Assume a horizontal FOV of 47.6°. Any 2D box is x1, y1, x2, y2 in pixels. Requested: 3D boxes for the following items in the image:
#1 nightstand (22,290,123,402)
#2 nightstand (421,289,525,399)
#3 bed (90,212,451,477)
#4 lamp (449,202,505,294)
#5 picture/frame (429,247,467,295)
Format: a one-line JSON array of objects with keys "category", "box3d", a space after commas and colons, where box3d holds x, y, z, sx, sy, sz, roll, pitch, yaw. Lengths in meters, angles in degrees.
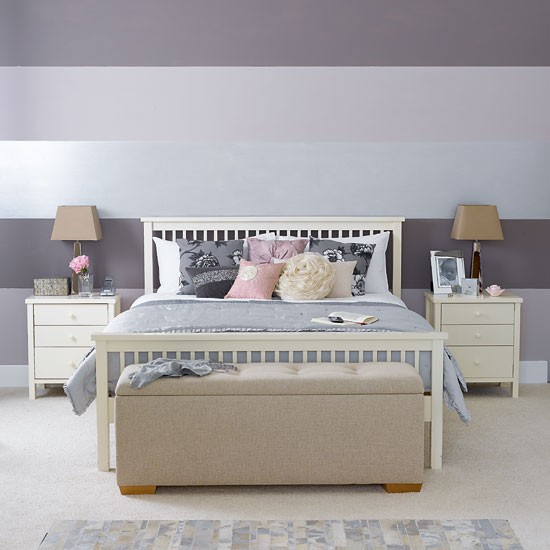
[{"category": "nightstand", "box3d": [-1.343, 0.536, 4.131, 0.579, 0.652, 0.428, 1, -26, -23]}, {"category": "nightstand", "box3d": [1.295, 0.462, 4.199, 0.572, 0.630, 0.431, 1, 1, 4]}, {"category": "bed", "box3d": [0.000, 0.218, 3.632, 1.547, 0.972, 1.658, 0, 1, 1]}, {"category": "lamp", "box3d": [1.382, -0.200, 4.261, 0.357, 0.562, 0.278, 1, 7, 9]}, {"category": "picture/frame", "box3d": [1.181, -0.023, 4.266, 0.364, 0.420, 0.035, 1, -13, -2]}]
